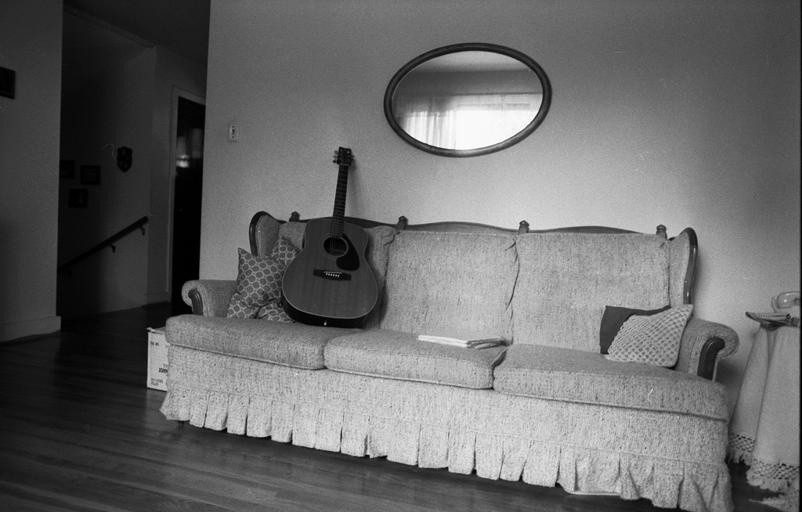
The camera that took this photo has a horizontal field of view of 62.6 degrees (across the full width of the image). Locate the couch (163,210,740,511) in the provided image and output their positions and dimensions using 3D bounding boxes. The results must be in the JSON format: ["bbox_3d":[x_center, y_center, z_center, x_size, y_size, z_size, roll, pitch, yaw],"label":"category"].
[{"bbox_3d":[0.273,0.502,4.392,3.493,1.514,1.175,4,8,11],"label":"couch"}]

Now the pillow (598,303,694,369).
[{"bbox_3d":[1.485,0.470,4.030,0.497,0.362,0.370,6,9,24],"label":"pillow"}]
